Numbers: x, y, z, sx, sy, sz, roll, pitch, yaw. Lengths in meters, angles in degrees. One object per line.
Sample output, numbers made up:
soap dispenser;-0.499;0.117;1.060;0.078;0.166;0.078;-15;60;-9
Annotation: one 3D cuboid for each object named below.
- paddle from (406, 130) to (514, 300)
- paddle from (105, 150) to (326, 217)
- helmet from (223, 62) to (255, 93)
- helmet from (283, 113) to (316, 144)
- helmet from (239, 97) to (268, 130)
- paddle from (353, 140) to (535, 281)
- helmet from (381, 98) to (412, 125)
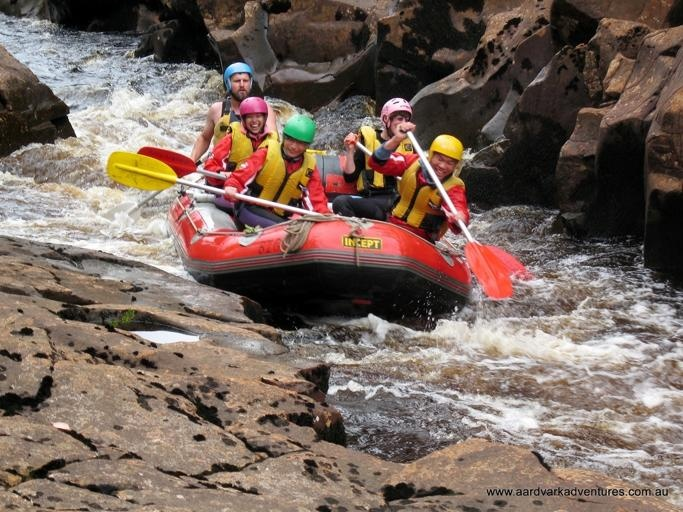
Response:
paddle;1.138;-0.402;9.399;0.590;0.131;1.970;-22;65;-26
paddle;-1.435;-0.765;11.142;2.864;0.165;0.424;11;57;-31
helmet;-1.280;-2.173;11.423;0.301;0.368;0.452;6;12;-5
helmet;-0.422;-1.356;9.865;0.311;0.285;0.364;17;23;-8
helmet;-0.984;-1.633;10.458;0.270;0.259;0.302;2;-19;-8
paddle;0.737;-0.697;9.658;2.747;0.462;0.208;44;58;15
helmet;0.617;-1.593;10.212;0.274;0.236;0.356;8;5;-27
